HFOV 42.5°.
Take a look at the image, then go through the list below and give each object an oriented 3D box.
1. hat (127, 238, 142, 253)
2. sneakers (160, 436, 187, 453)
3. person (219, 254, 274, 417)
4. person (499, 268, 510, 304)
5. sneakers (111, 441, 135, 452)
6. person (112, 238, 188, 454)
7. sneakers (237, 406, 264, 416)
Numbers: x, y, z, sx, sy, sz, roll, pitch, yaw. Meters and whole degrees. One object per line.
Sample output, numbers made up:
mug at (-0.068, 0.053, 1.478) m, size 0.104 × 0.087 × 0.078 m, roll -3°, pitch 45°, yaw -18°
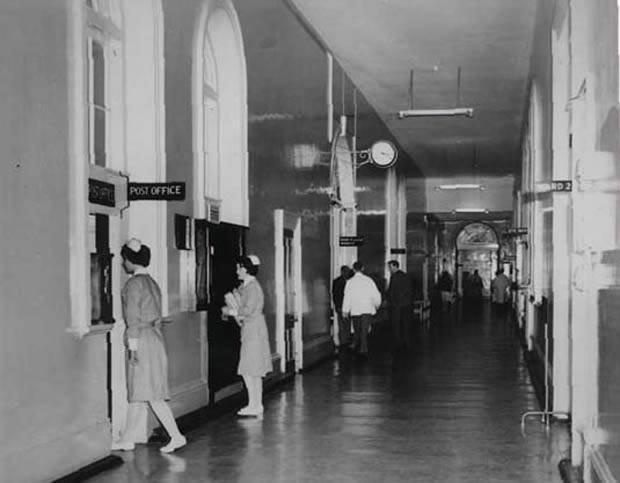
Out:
hat at (-1.656, 0.042, 7.508) m, size 0.102 × 0.127 × 0.047 m, roll 27°, pitch -8°, yaw -7°
sneakers at (-1.290, 1.897, 7.516) m, size 0.216 × 0.101 × 0.121 m, roll -13°, pitch 4°, yaw -22°
person at (-0.749, 1.077, 9.348) m, size 0.527 × 1.608 × 1.001 m, roll -1°, pitch 0°, yaw -7°
person at (5.451, 1.312, 22.676) m, size 0.432 × 0.750 × 1.119 m, roll -1°, pitch 0°, yaw 12°
sneakers at (-1.763, 1.939, 7.565) m, size 0.237 × 0.105 × 0.085 m, roll 7°, pitch 1°, yaw 3°
person at (-1.556, 0.975, 7.529) m, size 0.573 × 1.885 × 0.569 m, roll -1°, pitch 0°, yaw -28°
sneakers at (-0.675, 1.931, 9.011) m, size 0.191 × 0.086 × 0.125 m, roll 5°, pitch -10°, yaw -3°
